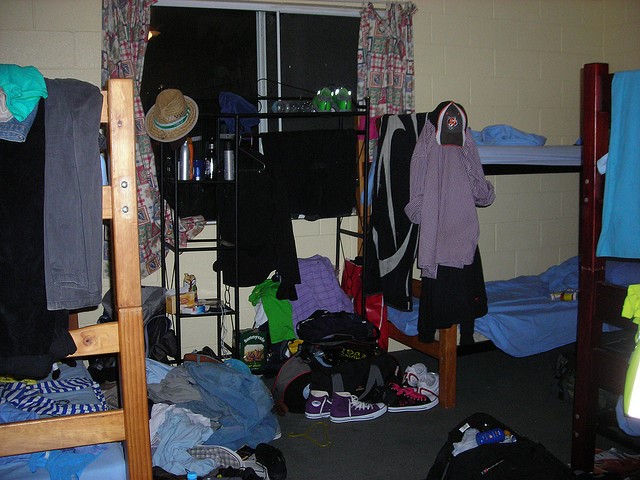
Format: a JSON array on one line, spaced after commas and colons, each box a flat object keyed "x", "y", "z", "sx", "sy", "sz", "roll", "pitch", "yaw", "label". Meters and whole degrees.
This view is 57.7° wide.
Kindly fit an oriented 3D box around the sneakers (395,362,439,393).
[{"x": 0.664, "y": 0.930, "z": 3.893, "sx": 0.312, "sy": 0.147, "sz": 0.115, "roll": 13, "pitch": 5, "yaw": -39, "label": "sneakers"}]

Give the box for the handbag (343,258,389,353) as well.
[{"x": 0.334, "y": 0.483, "z": 4.134, "sx": 0.206, "sy": 0.597, "sz": 0.585, "roll": -3, "pitch": 11, "yaw": -12, "label": "handbag"}]

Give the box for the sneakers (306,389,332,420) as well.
[{"x": -0.009, "y": 1.043, "z": 3.688, "sx": 0.101, "sy": 0.106, "sz": 0.214, "roll": 2, "pitch": 1, "yaw": 44, "label": "sneakers"}]

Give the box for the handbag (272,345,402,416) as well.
[{"x": 0.091, "y": 0.892, "z": 3.711, "sx": 0.569, "sy": 0.280, "sz": 0.396, "roll": 0, "pitch": 2, "yaw": -13, "label": "handbag"}]

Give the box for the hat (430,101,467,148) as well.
[{"x": 0.810, "y": -0.717, "z": 3.549, "sx": 0.208, "sy": 0.197, "sz": 0.342, "roll": -1, "pitch": 28, "yaw": 12, "label": "hat"}]

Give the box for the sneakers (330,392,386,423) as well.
[{"x": 0.213, "y": 1.033, "z": 3.685, "sx": 0.378, "sy": 0.187, "sz": 0.143, "roll": -3, "pitch": 7, "yaw": -14, "label": "sneakers"}]

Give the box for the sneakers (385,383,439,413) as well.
[{"x": 0.563, "y": 1.027, "z": 3.774, "sx": 0.380, "sy": 0.174, "sz": 0.149, "roll": -3, "pitch": 12, "yaw": -3, "label": "sneakers"}]

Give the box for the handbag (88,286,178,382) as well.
[{"x": -1.178, "y": 0.613, "z": 3.871, "sx": 0.540, "sy": 0.783, "sz": 0.256, "roll": 0, "pitch": -7, "yaw": -33, "label": "handbag"}]

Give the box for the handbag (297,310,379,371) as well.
[{"x": 0.110, "y": 0.669, "z": 3.872, "sx": 0.326, "sy": 0.133, "sz": 0.356, "roll": -1, "pitch": 31, "yaw": -11, "label": "handbag"}]

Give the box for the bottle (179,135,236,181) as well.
[{"x": -0.777, "y": -0.518, "z": 3.901, "sx": 0.309, "sy": 0.378, "sz": 0.342, "roll": -8, "pitch": 12, "yaw": -36, "label": "bottle"}]

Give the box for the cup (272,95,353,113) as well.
[{"x": -0.042, "y": -0.968, "z": 4.177, "sx": 0.267, "sy": 0.146, "sz": 0.370, "roll": -7, "pitch": 13, "yaw": -36, "label": "cup"}]
